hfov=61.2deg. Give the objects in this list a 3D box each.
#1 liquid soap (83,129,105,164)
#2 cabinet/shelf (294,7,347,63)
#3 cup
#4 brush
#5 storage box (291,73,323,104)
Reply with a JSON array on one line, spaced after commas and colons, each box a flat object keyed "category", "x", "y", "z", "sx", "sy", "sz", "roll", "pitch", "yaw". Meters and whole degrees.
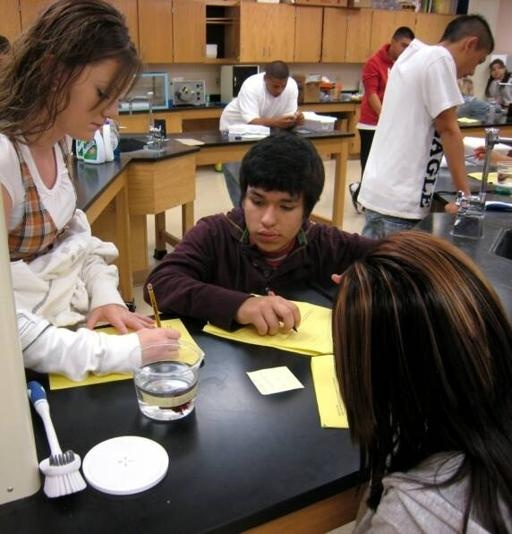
[{"category": "liquid soap", "x": -0.985, "y": -0.748, "z": 2.614, "sx": 0.100, "sy": 0.258, "sz": 0.067, "roll": -12, "pitch": 60, "yaw": -35}, {"category": "cabinet/shelf", "x": 0.947, "y": -3.581, "z": 6.597, "sx": 0.598, "sy": 0.714, "sz": 0.267, "roll": -6, "pitch": 27, "yaw": -13}, {"category": "cup", "x": -0.162, "y": 0.215, "z": 0.814, "sx": 0.088, "sy": 0.088, "sz": 0.107, "roll": 1, "pitch": 17, "yaw": -3}, {"category": "brush", "x": -0.326, "y": 0.258, "z": 0.684, "sx": 0.060, "sy": 0.066, "sz": 0.233, "roll": -3, "pitch": 30, "yaw": -26}, {"category": "storage box", "x": 0.748, "y": -2.673, "z": 6.531, "sx": 0.467, "sy": 0.580, "sz": 0.391, "roll": -7, "pitch": 21, "yaw": -16}]
